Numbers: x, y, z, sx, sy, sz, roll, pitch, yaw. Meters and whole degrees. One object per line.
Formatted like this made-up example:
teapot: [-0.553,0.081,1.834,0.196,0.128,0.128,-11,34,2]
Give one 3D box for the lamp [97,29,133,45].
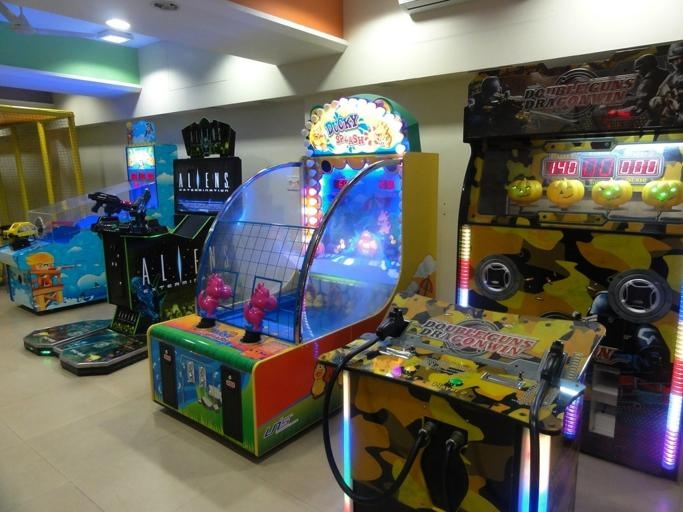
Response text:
lamp: [-2.386,-2.288,5.011,0.290,0.095,0.703,-8,14,-28]
